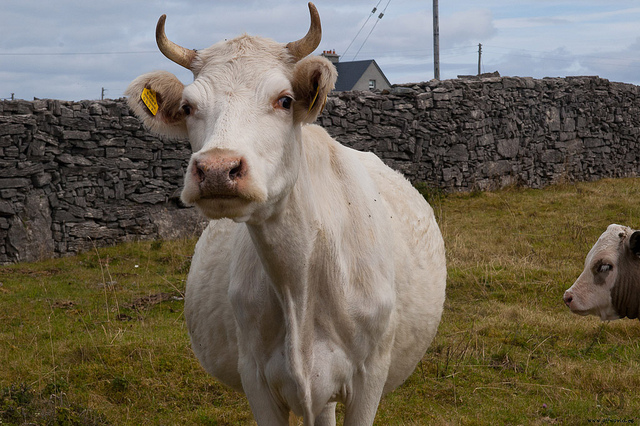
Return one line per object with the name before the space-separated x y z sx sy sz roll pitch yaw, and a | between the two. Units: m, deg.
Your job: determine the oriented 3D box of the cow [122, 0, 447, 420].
cow | -0.315 0.169 9.271 3.651 5.385 1.709 -3 8 -21
